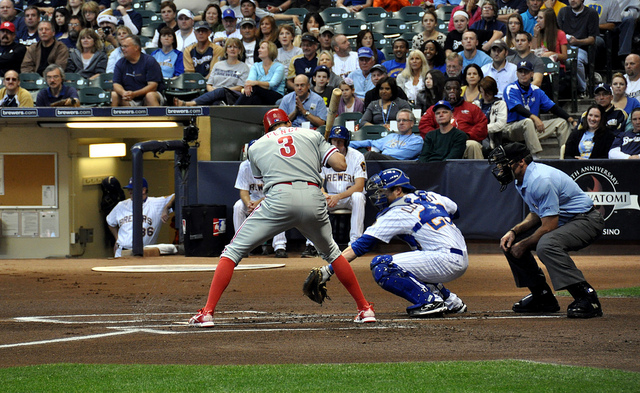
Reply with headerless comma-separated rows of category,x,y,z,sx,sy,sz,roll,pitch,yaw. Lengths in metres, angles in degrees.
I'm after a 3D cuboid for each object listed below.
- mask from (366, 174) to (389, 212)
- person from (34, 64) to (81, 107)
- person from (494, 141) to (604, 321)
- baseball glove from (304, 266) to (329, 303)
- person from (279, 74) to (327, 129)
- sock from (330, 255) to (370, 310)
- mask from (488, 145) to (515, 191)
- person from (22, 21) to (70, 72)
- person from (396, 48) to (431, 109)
mask,0.856,-0.071,17.465,0.529,0.499,0.414,-8,1,-2
person,-5.419,-2.295,23.429,0.983,1.276,0.792,-1,15,-2
person,3.478,0.489,17.146,1.537,2.610,0.743,1,6,11
baseball glove,-0.031,1.336,17.061,0.198,0.469,0.367,-9,1,32
person,-0.388,-1.738,22.217,1.094,1.342,0.877,4,15,12
sock,0.451,1.371,17.735,0.208,0.888,0.278,-40,13,-32
mask,2.747,-0.460,17.482,0.589,0.584,0.483,1,-9,-8
person,-5.965,-3.218,24.601,1.025,1.276,1.029,0,7,-12
person,1.865,-2.389,22.634,0.684,1.150,0.723,1,6,5
